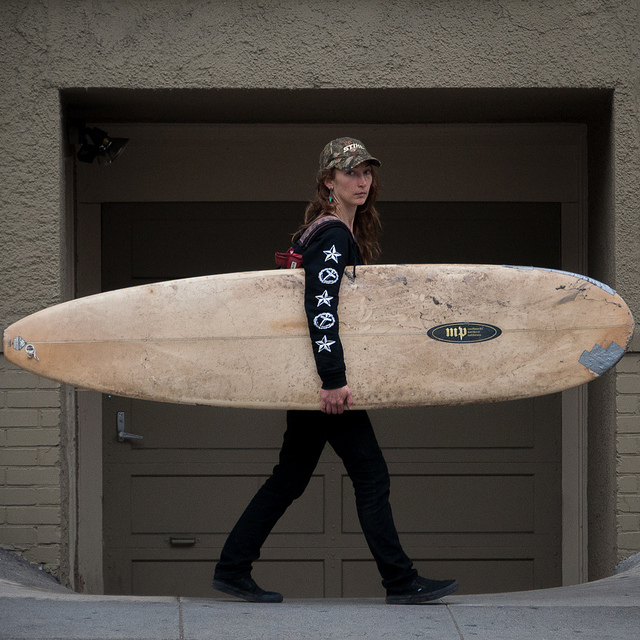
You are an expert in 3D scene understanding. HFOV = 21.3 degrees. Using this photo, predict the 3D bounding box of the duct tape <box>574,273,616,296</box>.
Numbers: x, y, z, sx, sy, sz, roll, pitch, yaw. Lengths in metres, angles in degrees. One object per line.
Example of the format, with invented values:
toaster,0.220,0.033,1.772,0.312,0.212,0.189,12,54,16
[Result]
duct tape,1.323,-0.157,8.121,0.242,0.024,0.046,27,95,-3
